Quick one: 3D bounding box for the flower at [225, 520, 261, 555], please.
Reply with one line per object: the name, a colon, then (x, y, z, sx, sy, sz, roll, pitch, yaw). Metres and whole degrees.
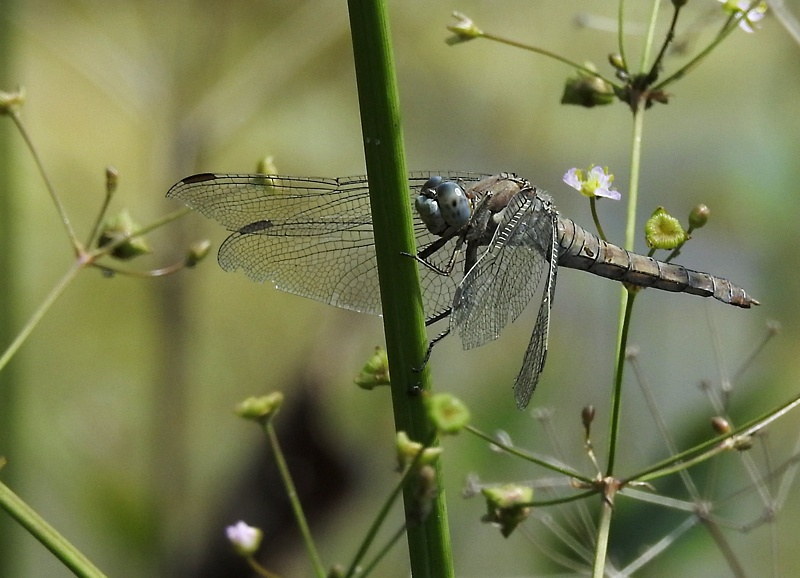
flower: (-0.408, 0.649, 2.251, 0.085, 0.080, 0.085, 12, -71, -1)

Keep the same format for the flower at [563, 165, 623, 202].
flower: (0.552, -0.306, 2.550, 0.118, 0.121, 0.052, 24, -80, -42)
